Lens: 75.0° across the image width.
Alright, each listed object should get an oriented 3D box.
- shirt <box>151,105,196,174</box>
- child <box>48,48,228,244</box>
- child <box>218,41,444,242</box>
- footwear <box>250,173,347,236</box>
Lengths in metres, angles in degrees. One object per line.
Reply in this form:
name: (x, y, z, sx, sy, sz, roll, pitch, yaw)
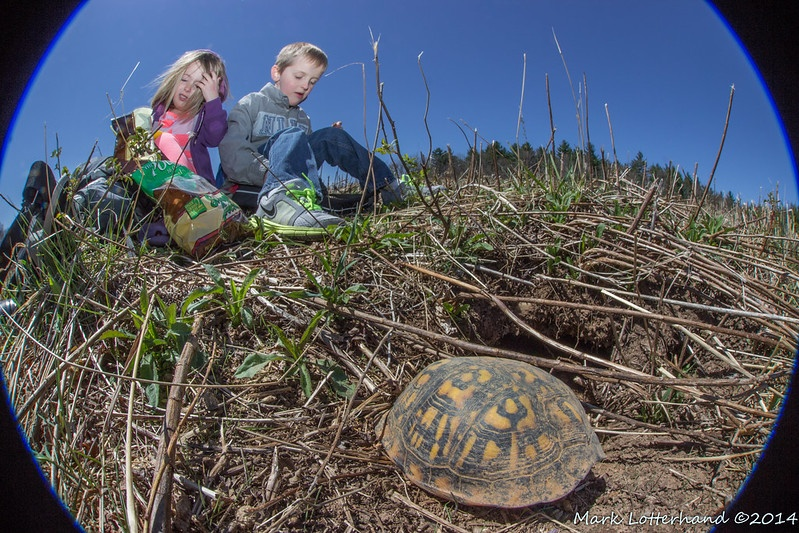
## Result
shirt: (-1.937, -1.076, 4.496, 0.309, 0.528, 0.919, -1, 12, -21)
child: (-1.850, -0.724, 3.851, 0.861, 1.380, 1.196, 30, 26, 12)
child: (-0.863, -1.304, 4.980, 1.861, 1.683, 1.670, 10, 12, 33)
footwear: (-0.797, -0.436, 4.142, 0.967, 0.456, 0.370, 7, -1, 36)
